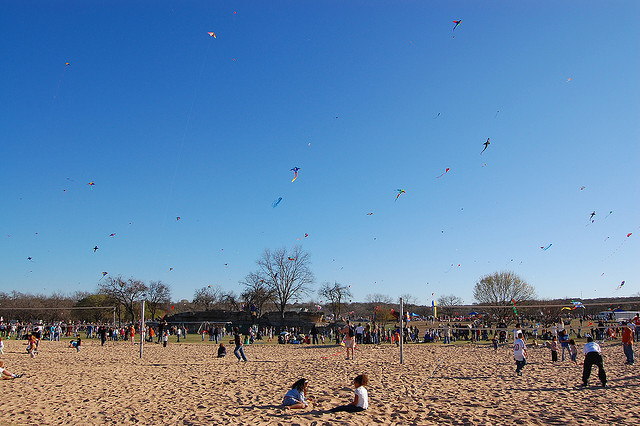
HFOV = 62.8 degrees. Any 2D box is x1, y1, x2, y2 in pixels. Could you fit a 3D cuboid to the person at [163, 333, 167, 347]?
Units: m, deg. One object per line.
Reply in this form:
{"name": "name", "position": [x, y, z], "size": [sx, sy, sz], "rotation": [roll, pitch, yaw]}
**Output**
{"name": "person", "position": [-12.185, 10.042, 41.439], "size": [0.250, 1.020, 0.799], "rotation": [6, -19, -23]}

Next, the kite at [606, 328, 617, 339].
{"name": "kite", "position": [25.328, 10.415, 45.511], "size": [1.085, 0.870, 1.789], "rotation": [-4, -15, 25]}

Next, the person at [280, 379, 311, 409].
{"name": "person", "position": [-1.066, 8.223, 23.256], "size": [1.145, 1.363, 0.991], "rotation": [23, -34, 0]}
